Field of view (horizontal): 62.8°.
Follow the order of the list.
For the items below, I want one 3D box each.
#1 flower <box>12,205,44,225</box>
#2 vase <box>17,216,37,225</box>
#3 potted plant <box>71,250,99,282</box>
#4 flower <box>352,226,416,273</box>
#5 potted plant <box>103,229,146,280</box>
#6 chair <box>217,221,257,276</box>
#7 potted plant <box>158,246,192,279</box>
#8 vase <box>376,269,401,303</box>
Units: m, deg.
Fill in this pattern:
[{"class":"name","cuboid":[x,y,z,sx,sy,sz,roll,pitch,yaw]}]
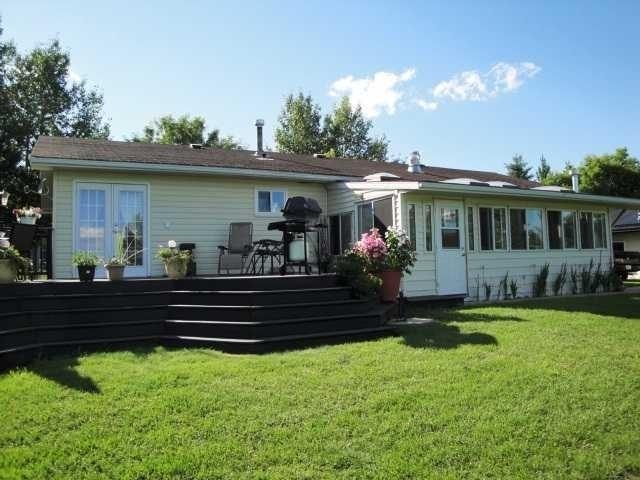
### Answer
[{"class":"flower","cuboid":[-6.392,-0.515,11.508,0.564,0.487,0.631,2,-7,-19]},{"class":"vase","cuboid":[-6.311,-0.406,11.301,0.248,0.226,0.273,3,-8,-37]},{"class":"potted plant","cuboid":[-4.712,0.527,10.543,0.566,0.634,0.522,-6,-7,39]},{"class":"flower","cuboid":[1.621,0.142,12.520,1.256,1.226,1.354,-8,10,-18]},{"class":"potted plant","cuboid":[-4.257,0.326,11.257,0.801,1.069,0.922,-3,0,-40]},{"class":"chair","cuboid":[-2.191,0.190,13.662,0.767,1.395,0.899,1,-3,6]},{"class":"potted plant","cuboid":[-3.073,0.506,11.059,0.630,0.749,0.695,-1,-5,9]},{"class":"vase","cuboid":[1.695,1.068,12.249,0.626,0.730,0.672,2,-3,2]}]
